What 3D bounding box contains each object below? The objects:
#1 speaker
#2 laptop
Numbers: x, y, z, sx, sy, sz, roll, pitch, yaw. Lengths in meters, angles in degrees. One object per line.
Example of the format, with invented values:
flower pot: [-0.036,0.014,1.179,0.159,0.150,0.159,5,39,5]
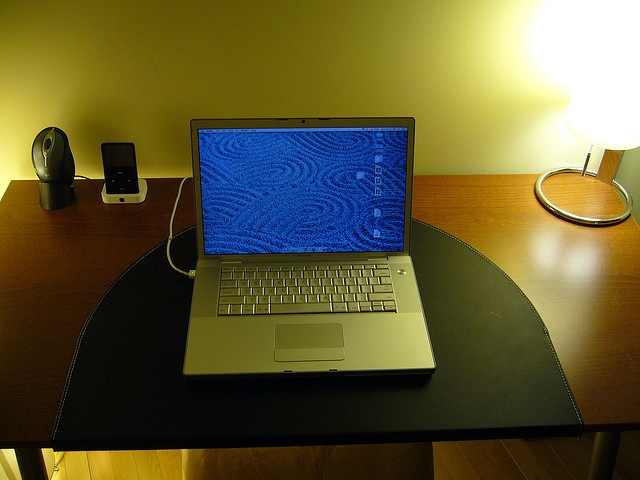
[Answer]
speaker: [-0.705,-0.196,1.379,0.104,0.235,0.086,-1,21,-7]
laptop: [-0.031,-0.008,1.075,0.513,0.454,0.370,0,23,-4]
